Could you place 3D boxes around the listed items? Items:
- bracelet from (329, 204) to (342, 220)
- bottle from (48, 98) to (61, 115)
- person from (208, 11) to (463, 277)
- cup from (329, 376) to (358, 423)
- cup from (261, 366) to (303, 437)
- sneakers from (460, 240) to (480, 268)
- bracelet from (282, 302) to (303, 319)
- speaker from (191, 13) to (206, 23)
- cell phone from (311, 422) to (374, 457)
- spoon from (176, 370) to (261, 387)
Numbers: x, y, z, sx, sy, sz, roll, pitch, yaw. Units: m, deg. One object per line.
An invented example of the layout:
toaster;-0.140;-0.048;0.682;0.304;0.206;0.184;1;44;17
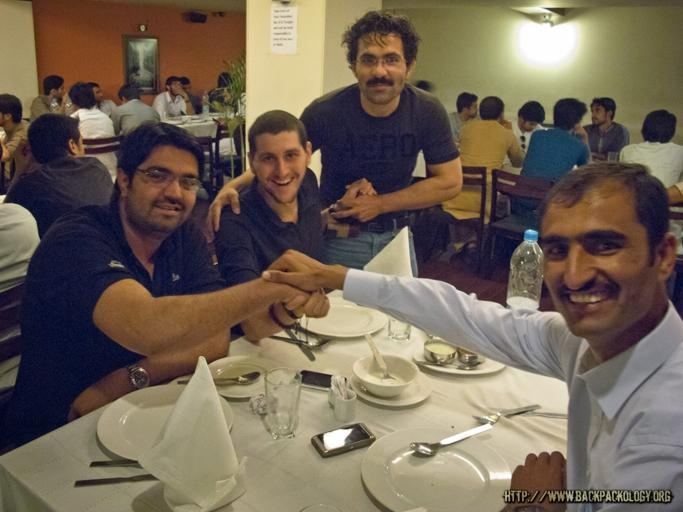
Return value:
bracelet;-0.032;-0.222;2.765;0.061;0.075;0.025;-18;-10;41
bottle;-2.166;-1.118;3.944;0.068;0.098;0.197;-7;17;-18
person;-0.039;-0.234;3.067;1.370;2.124;0.807;1;28;-1
cup;0.002;0.420;1.505;0.070;0.118;0.118;-1;2;-2
cup;-0.166;0.412;1.454;0.101;0.143;0.101;-1;25;0
sneakers;0.972;-0.006;3.941;0.147;0.194;0.059;9;9;24
bracelet;-0.179;0.210;1.904;0.049;0.063;0.020;-40;-2;-45
speaker;-1.379;-2.259;5.037;0.034;0.101;0.187;8;18;29
cell phone;0.002;0.495;1.414;0.125;0.021;0.070;-9;21;-22
spoon;-0.350;0.360;1.528;0.112;0.012;0.114;3;9;31
